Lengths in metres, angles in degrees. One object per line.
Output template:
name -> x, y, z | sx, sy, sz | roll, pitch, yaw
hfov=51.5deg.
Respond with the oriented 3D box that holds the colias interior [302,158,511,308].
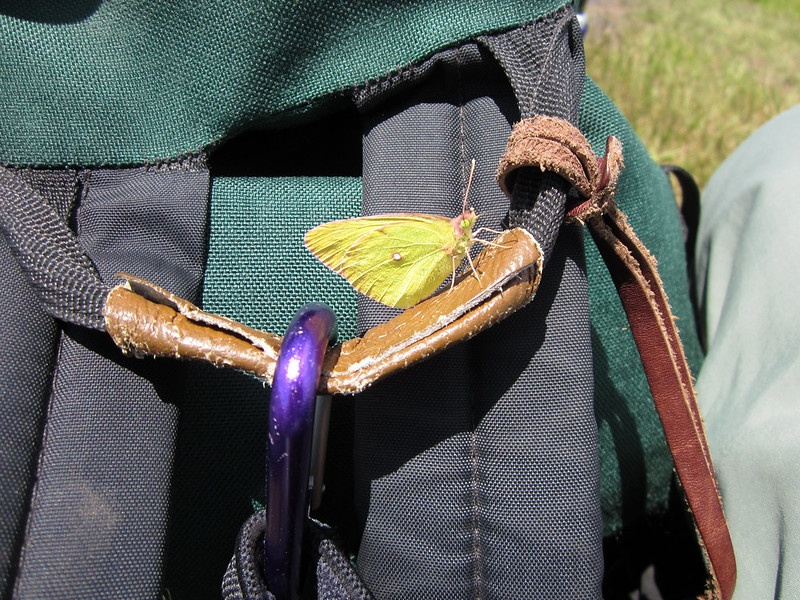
colias interior -> 0.019, -0.106, 1.902 | 0.374, 0.327, 0.284 | -31, 101, -58
